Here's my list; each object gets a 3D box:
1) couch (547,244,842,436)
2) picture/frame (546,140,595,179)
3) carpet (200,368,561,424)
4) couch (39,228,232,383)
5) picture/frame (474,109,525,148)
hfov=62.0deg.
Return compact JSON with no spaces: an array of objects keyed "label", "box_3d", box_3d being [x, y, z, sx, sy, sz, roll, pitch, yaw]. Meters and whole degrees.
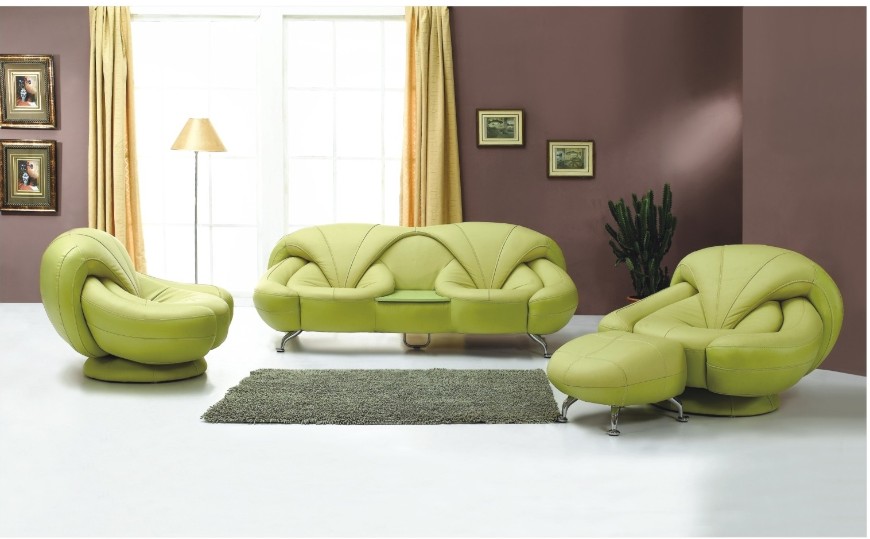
[{"label":"couch","box_3d":[1.900,0.424,5.159,1.984,0.923,1.371,-2,2,-36]},{"label":"picture/frame","box_3d":[1.443,-1.175,7.619,0.461,0.344,0.034,0,1,1]},{"label":"carpet","box_3d":[-0.357,0.940,5.419,2.497,0.120,0.905,0,10,-2]},{"label":"couch","box_3d":[-2.383,0.243,5.921,1.440,1.031,1.301,-1,4,-18]},{"label":"picture/frame","box_3d":[0.698,-1.504,7.643,0.476,0.350,0.033,0,0,1]}]
